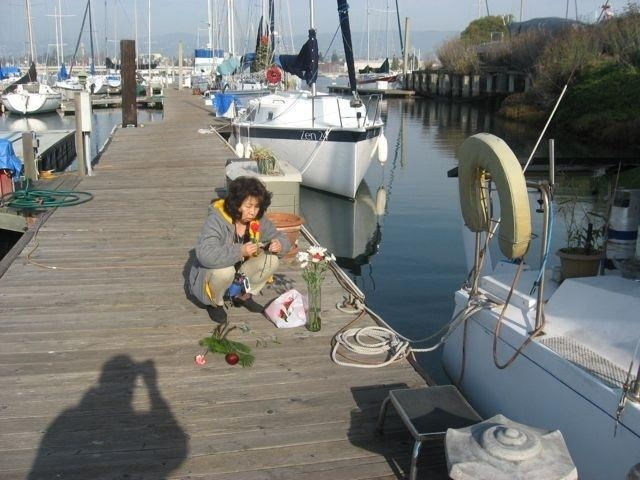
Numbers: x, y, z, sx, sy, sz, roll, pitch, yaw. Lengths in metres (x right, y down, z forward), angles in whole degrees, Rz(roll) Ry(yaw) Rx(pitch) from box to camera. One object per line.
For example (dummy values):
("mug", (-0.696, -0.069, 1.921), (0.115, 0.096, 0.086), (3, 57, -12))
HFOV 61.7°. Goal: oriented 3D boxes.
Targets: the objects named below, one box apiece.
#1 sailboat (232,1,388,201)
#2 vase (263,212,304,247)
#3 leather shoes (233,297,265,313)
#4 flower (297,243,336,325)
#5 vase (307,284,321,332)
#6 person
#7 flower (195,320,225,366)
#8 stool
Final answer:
("sailboat", (-0.257, -2.954, 11.473), (2.810, 4.161, 1.813), (8, 15, 29))
("vase", (-0.355, -0.138, 5.664), (0.332, 0.265, 0.343), (6, 13, 30))
("leather shoes", (-0.596, 0.528, 4.548), (0.303, 0.148, 0.108), (7, 12, 22))
("flower", (-0.017, 0.413, 4.255), (0.310, 0.643, 0.345), (6, -15, -30))
("vase", (-0.040, 0.513, 4.253), (0.116, 0.386, 0.239), (0, 13, 0))
("person", (-0.651, 0.057, 4.326), (0.769, 1.136, 0.537), (-8, 15, -30))
("flower", (-0.784, 0.770, 3.837), (0.105, 0.073, 0.309), (2, 44, 34))
("stool", (0.619, 1.035, 3.001), (0.458, 0.288, 0.490), (-4, 15, -17))
